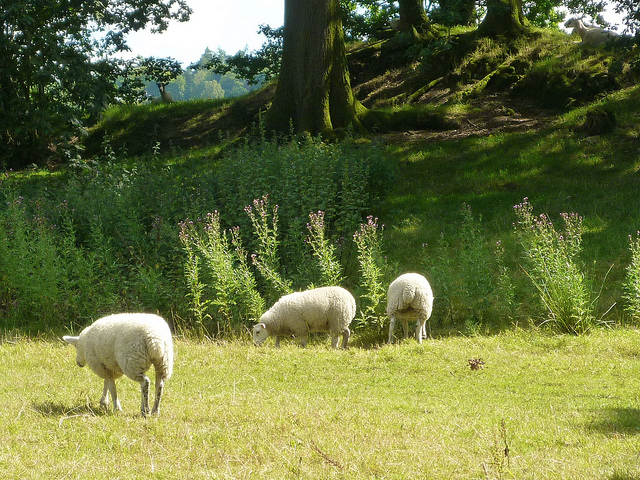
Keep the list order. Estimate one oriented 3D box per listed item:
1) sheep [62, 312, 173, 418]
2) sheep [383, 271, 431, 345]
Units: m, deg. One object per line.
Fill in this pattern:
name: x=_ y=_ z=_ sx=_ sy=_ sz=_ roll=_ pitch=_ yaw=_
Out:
sheep: x=-4.639 y=2.814 z=25.491 sx=2.891 sy=2.355 sz=1.297 roll=-2 pitch=0 yaw=38
sheep: x=2.216 y=1.724 z=28.400 sx=1.429 sy=1.685 sz=1.852 roll=0 pitch=-6 yaw=-21
